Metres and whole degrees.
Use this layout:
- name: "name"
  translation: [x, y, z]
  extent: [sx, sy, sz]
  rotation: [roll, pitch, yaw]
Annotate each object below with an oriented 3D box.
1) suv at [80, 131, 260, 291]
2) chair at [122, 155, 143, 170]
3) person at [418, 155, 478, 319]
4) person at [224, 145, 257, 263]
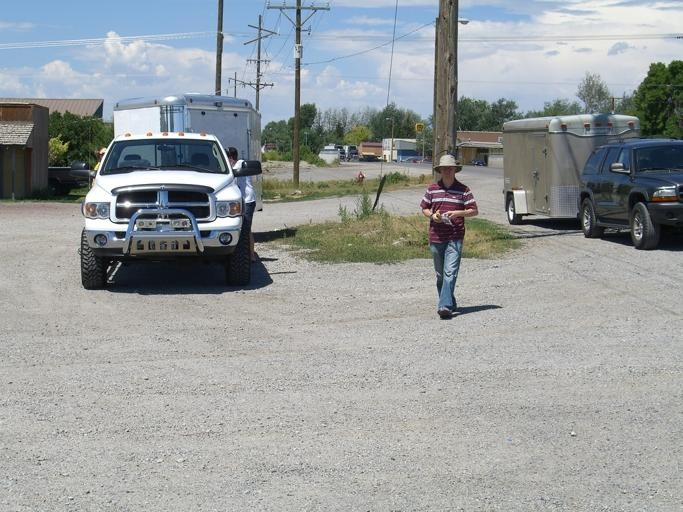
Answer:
- name: "suv"
  translation: [-2.709, -0.985, 14.005]
  extent: [1.843, 1.645, 3.126]
  rotation: [-1, -2, -5]
- name: "chair"
  translation: [-3.345, -1.518, 14.243]
  extent: [0.284, 0.214, 0.287]
  rotation: [-1, 3, -22]
- name: "person"
  translation: [1.396, -0.272, 11.513]
  extent: [0.641, 2.022, 0.754]
  rotation: [-3, 11, -16]
- name: "person"
  translation: [-1.777, -1.018, 15.396]
  extent: [0.546, 1.697, 0.483]
  rotation: [3, 24, 8]
